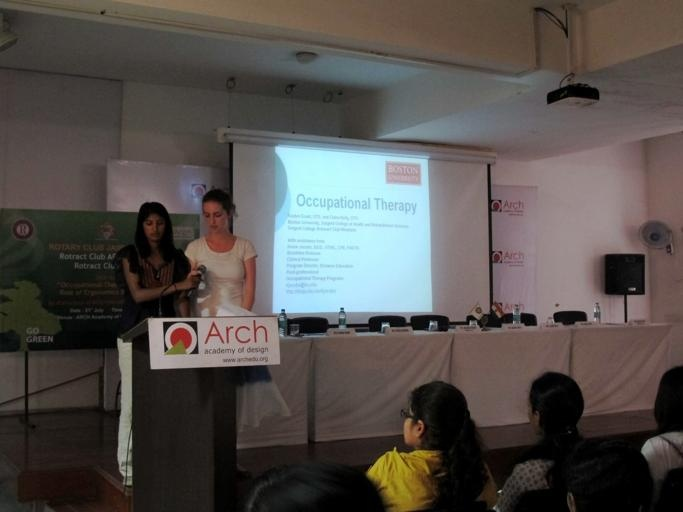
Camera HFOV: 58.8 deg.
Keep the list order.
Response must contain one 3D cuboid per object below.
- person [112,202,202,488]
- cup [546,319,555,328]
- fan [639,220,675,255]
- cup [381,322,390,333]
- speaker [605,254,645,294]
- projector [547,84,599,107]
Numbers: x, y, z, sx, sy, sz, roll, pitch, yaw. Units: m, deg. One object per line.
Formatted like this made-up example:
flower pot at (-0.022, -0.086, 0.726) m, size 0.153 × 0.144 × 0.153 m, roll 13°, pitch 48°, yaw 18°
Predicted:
person at (-1.127, 0.574, 3.673) m, size 0.462 × 1.793 × 0.735 m, roll -1°, pitch 2°, yaw -22°
cup at (2.100, 0.682, 6.058) m, size 0.070 × 0.074 × 0.073 m, roll 1°, pitch -19°, yaw 0°
fan at (4.777, -0.266, 9.064) m, size 0.613 × 0.526 × 0.389 m, roll -2°, pitch 3°, yaw -42°
cup at (0.418, 0.655, 5.538) m, size 0.054 × 0.093 × 0.184 m, roll 0°, pitch -12°, yaw -4°
speaker at (4.287, 0.285, 9.095) m, size 0.492 × 0.703 × 0.360 m, roll 5°, pitch -2°, yaw -8°
projector at (2.241, -1.537, 5.749) m, size 0.474 × 0.196 × 0.294 m, roll -1°, pitch 3°, yaw -20°
